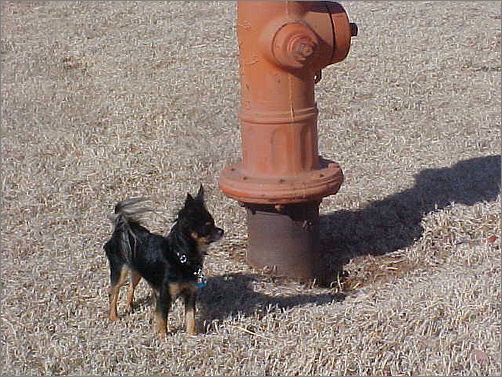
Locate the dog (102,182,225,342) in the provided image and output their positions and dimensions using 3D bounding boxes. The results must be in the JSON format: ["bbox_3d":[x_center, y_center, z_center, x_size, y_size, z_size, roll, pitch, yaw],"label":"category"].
[{"bbox_3d":[-1.053,0.840,9.775,1.311,1.531,0.914,5,28,18],"label":"dog"}]
